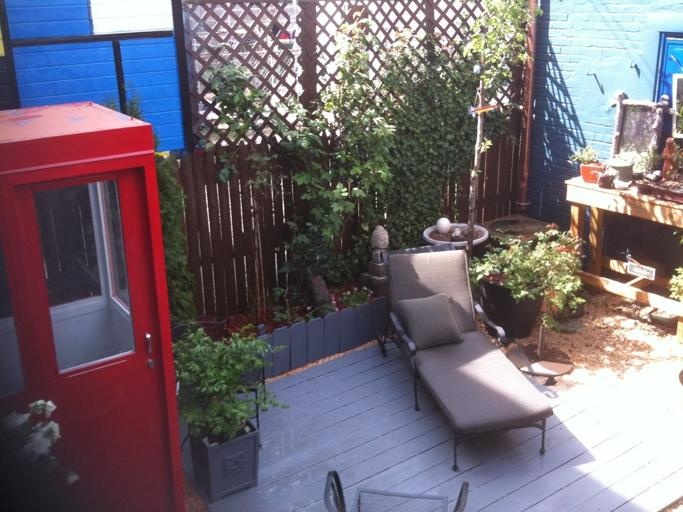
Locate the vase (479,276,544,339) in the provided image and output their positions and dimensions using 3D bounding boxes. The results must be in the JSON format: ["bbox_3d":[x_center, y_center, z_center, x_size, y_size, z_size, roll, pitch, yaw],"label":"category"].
[{"bbox_3d":[1.671,0.504,5.553,0.548,0.479,0.552,-9,23,-16],"label":"vase"}]

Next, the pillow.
[{"bbox_3d":[0.833,0.647,5.173,0.456,0.223,0.504,-7,62,-18],"label":"pillow"}]

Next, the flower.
[{"bbox_3d":[1.932,0.252,5.989,1.095,0.880,1.049,-6,10,-34],"label":"flower"}]

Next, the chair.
[{"bbox_3d":[1.020,0.768,4.985,0.921,1.254,2.134,-6,15,-9],"label":"chair"}]

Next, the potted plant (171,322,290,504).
[{"bbox_3d":[-0.925,1.231,4.285,0.663,1.195,0.981,-8,0,-31],"label":"potted plant"}]
